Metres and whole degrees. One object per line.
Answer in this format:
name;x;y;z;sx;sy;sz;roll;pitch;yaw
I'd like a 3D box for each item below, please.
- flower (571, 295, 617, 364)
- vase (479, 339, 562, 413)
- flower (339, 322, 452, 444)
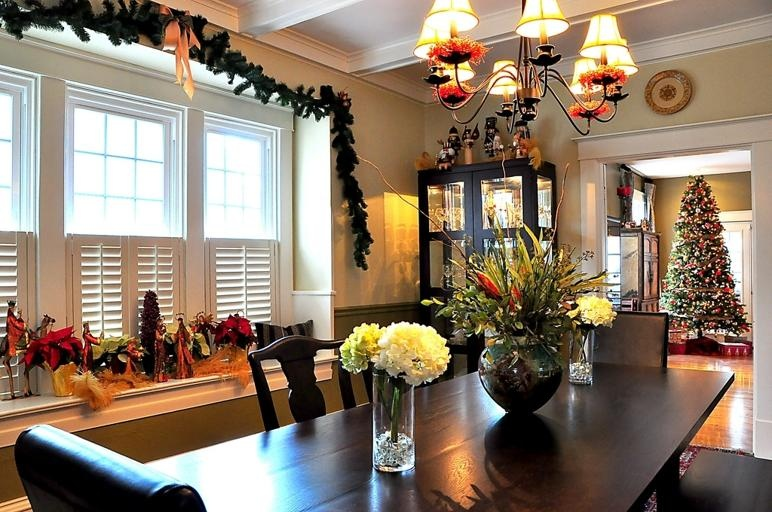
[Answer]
flower;1.071;0.410;2.665;0.205;0.394;0.724;2;7;23
vase;0.591;0.508;2.331;0.322;0.259;0.324;1;-5;-17
flower;0.028;0.362;1.879;0.396;0.235;0.149;0;7;5
